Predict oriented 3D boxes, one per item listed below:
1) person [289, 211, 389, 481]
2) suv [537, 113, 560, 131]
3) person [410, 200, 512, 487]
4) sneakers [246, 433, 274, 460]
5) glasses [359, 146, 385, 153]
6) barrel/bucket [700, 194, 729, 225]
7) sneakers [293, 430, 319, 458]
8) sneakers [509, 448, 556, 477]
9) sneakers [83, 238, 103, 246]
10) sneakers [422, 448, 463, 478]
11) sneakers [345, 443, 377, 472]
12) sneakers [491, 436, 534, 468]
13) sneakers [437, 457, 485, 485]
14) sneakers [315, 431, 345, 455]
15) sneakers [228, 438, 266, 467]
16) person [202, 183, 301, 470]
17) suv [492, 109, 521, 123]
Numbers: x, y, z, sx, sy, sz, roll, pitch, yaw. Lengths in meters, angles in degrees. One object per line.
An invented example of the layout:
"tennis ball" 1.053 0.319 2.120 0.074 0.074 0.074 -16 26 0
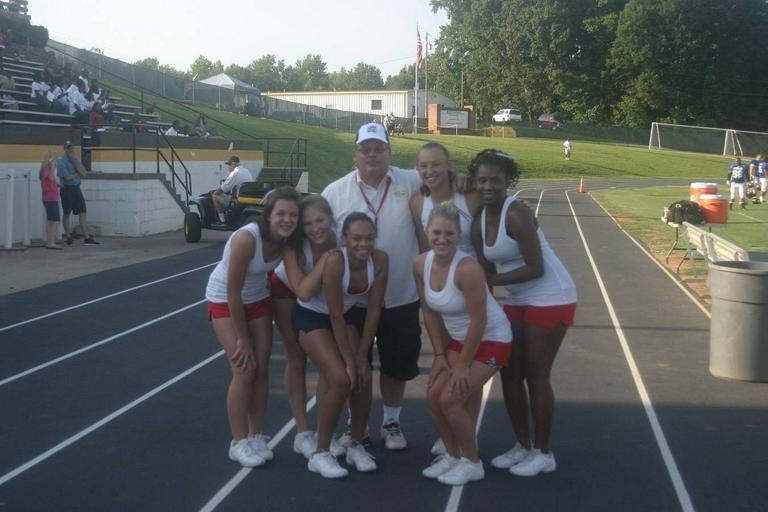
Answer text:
"person" -0.453 0.957 6.864 1.002 2.772 0.716 -2 13 -11
"suv" 20.904 -17.008 81.163 2.728 1.848 1.694 13 28 33
"person" 0.814 0.950 6.748 1.033 2.905 0.772 3 13 12
"sneakers" -1.407 2.117 7.229 0.181 0.159 0.367 -7 24 -43
"glasses" -0.138 -1.211 7.336 0.295 0.061 0.044 -1 14 -6
"barrel/bucket" 9.085 -1.276 17.399 0.722 0.778 0.743 -2 3 0
"sneakers" -0.891 2.136 7.250 0.183 0.151 0.329 -24 12 -30
"sneakers" 1.617 2.247 7.019 0.487 0.253 0.244 -5 10 -12
"sneakers" -8.704 -0.428 18.994 0.597 0.271 0.215 1 2 2
"sneakers" 0.604 2.254 6.908 0.463 0.203 0.189 -32 13 -5
"sneakers" -0.241 2.224 7.030 0.191 0.159 0.339 -7 8 -35
"sneakers" 1.413 2.219 7.111 0.554 0.237 0.190 -20 21 -25
"sneakers" 0.814 2.265 6.796 0.460 0.229 0.245 -5 3 -14
"sneakers" -0.618 2.159 7.348 0.164 0.218 0.500 0 -4 -23
"sneakers" -1.531 2.180 7.107 0.381 0.207 0.238 8 9 37
"person" -1.441 0.784 7.024 0.992 3.009 0.692 -2 13 -11
"suv" 15.111 -17.756 80.200 1.693 1.396 3.178 -6 18 -20
